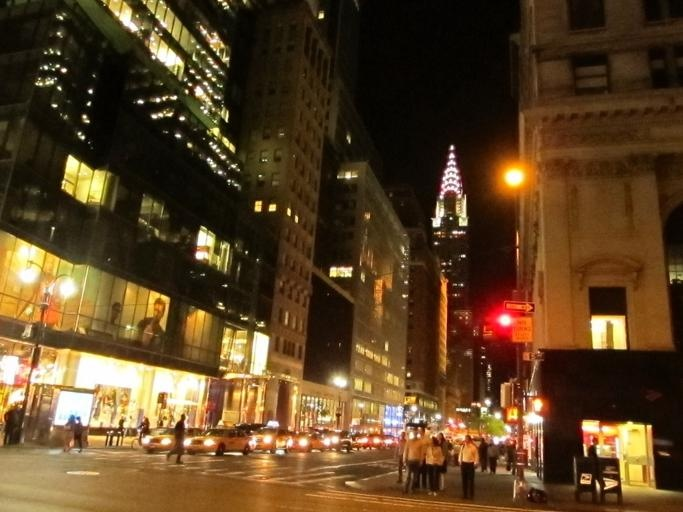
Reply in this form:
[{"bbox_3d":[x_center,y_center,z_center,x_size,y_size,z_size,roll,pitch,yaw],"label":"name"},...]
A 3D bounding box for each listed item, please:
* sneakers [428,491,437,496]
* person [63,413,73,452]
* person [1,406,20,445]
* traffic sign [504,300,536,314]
[{"bbox_3d":[3.971,10.416,25.025,0.230,0.152,0.240,4,-15,0],"label":"sneakers"},{"bbox_3d":[-15.450,10.039,32.475,0.517,2.055,1.324,11,-22,-23],"label":"person"},{"bbox_3d":[-20.053,10.232,34.729,0.721,2.395,0.709,16,-24,-34],"label":"person"},{"bbox_3d":[8.172,2.368,26.611,1.245,0.474,0.944,-1,-21,8],"label":"traffic sign"}]
